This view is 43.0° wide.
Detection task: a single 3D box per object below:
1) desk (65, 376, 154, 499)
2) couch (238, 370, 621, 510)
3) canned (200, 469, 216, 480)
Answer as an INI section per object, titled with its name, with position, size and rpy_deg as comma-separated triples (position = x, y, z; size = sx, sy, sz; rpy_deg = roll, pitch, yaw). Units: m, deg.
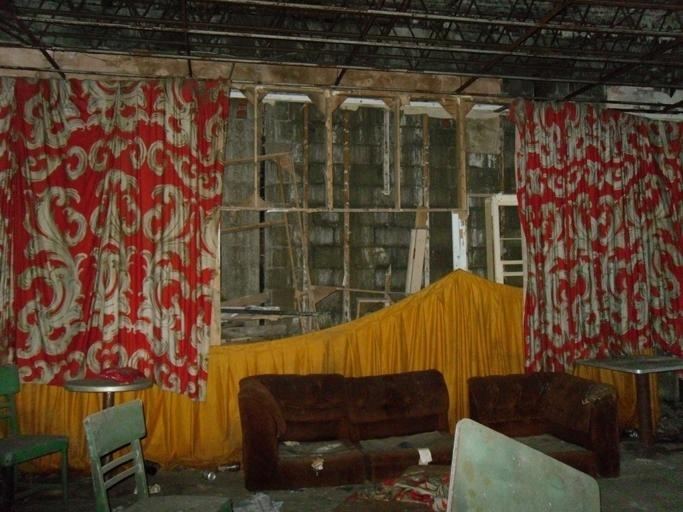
[desk]
position = -2.470, 1.841, 9.235
size = 0.801, 0.997, 0.792
rpy_deg = -5, 9, -36
[couch]
position = 0.815, 1.827, 9.362
size = 3.837, 1.168, 0.805
rpy_deg = -2, -2, -2
[canned]
position = -1.436, 2.375, 9.359
size = 0.085, 0.097, 0.138
rpy_deg = -12, 12, -31
